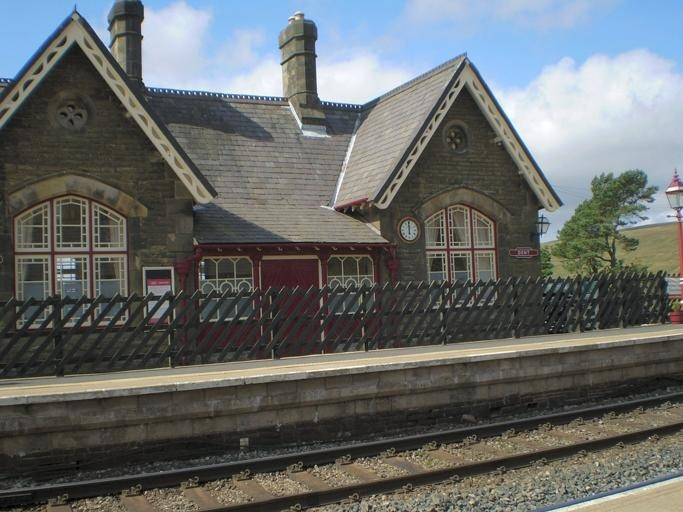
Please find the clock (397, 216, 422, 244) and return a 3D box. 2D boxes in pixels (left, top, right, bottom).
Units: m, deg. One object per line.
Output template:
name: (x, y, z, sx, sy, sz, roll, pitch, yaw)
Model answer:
clock: (1.726, -0.682, 27.755, 0.748, 0.707, 0.051, 5, -13, -34)
